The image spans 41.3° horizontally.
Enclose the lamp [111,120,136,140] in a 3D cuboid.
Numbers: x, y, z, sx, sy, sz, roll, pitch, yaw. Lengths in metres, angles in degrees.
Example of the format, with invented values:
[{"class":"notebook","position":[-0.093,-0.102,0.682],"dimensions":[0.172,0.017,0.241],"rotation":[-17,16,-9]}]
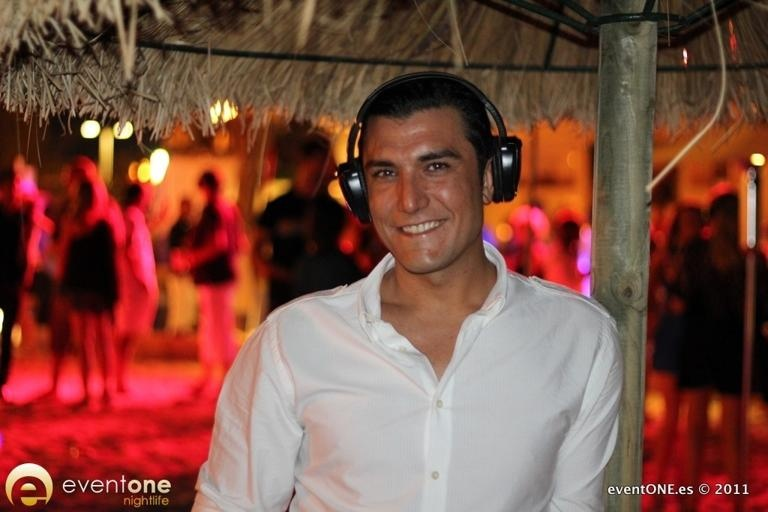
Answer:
[{"class":"lamp","position":[-1.492,-0.716,5.814],"dimensions":[0.109,0.106,0.113],"rotation":[-3,3,2]}]
